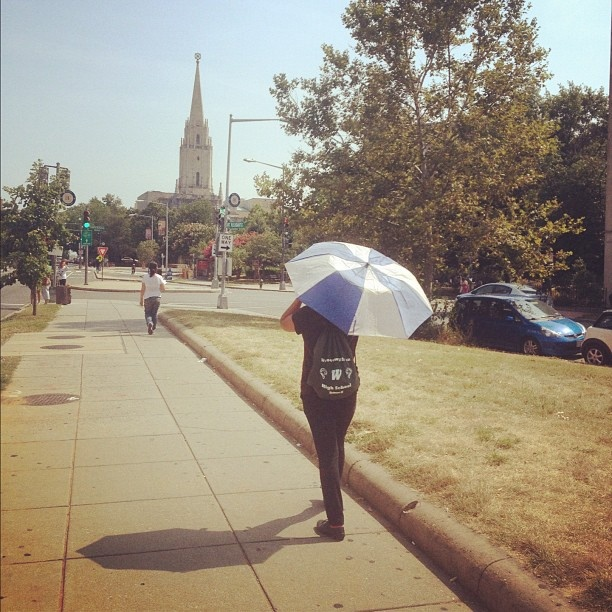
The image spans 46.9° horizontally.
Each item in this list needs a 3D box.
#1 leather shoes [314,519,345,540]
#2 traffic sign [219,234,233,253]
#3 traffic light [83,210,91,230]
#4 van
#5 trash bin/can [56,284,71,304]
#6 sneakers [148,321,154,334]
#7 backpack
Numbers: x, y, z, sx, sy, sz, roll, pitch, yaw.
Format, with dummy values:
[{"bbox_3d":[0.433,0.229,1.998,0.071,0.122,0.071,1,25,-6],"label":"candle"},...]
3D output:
[{"bbox_3d":[0.160,1.552,4.939,0.239,0.103,0.156,6,5,17],"label":"leather shoes"},{"bbox_3d":[-2.773,-2.216,24.312,0.437,0.650,0.978,3,5,-10],"label":"traffic sign"},{"bbox_3d":[-10.958,-4.293,35.287,0.318,0.869,0.627,2,5,-20],"label":"traffic light"},{"bbox_3d":[4.958,0.442,16.732,1.122,1.244,3.396,1,6,-35],"label":"van"},{"bbox_3d":[-8.431,-0.430,24.630,0.556,0.726,0.580,4,4,32],"label":"trash bin/can"},{"bbox_3d":[-3.461,0.482,15.797,0.095,0.262,0.103,1,-4,-4],"label":"sneakers"},{"bbox_3d":[0.187,0.355,4.960,0.387,0.605,0.275,1,-2,-17],"label":"backpack"}]
